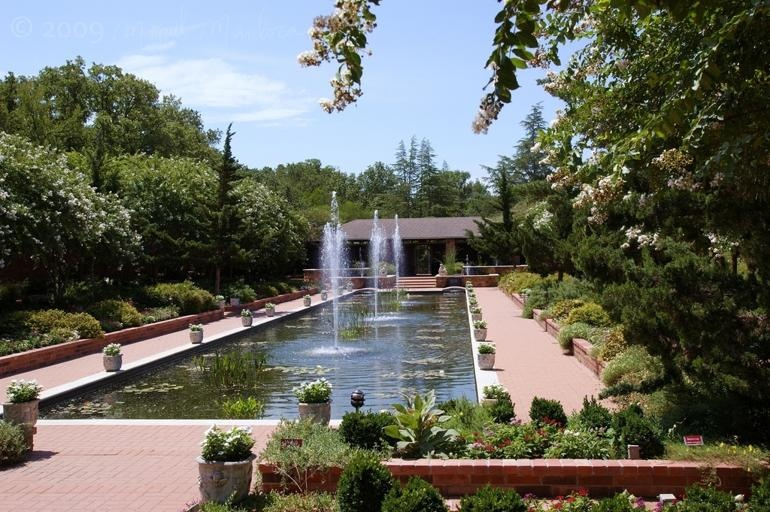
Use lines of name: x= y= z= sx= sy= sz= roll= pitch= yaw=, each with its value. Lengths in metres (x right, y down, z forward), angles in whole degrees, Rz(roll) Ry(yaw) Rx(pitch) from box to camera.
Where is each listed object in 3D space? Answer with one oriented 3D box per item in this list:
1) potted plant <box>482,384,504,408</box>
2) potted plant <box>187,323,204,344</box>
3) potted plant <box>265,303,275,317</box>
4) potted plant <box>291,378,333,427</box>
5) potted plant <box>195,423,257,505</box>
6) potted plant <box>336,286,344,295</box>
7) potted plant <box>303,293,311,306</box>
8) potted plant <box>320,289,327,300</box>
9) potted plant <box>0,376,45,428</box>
potted plant: x=1.878 y=2.479 z=10.208 sx=0.360 sy=0.381 sz=0.340 roll=1 pitch=-8 yaw=-2
potted plant: x=-5.922 y=2.478 z=18.238 sx=0.315 sy=0.542 sz=0.783 roll=0 pitch=-2 yaw=-27
potted plant: x=-5.069 y=2.398 z=25.689 sx=0.500 sy=0.616 sz=0.518 roll=-1 pitch=4 yaw=22
potted plant: x=-1.173 y=2.469 z=9.689 sx=0.778 sy=0.875 sz=0.687 roll=0 pitch=-10 yaw=-5
potted plant: x=-2.114 y=2.870 z=8.021 sx=0.963 sy=1.217 sz=0.900 roll=1 pitch=-8 yaw=-5
potted plant: x=-2.941 y=2.288 z=37.959 sx=0.355 sy=0.424 sz=0.366 roll=0 pitch=-4 yaw=1
potted plant: x=-4.021 y=2.330 z=29.939 sx=0.474 sy=0.560 sz=0.493 roll=1 pitch=-6 yaw=-12
potted plant: x=-3.591 y=2.321 z=34.006 sx=0.459 sy=0.731 sz=0.474 roll=0 pitch=2 yaw=18
potted plant: x=-6.102 y=2.495 z=9.679 sx=0.523 sy=0.743 sz=0.435 roll=0 pitch=-1 yaw=-9
